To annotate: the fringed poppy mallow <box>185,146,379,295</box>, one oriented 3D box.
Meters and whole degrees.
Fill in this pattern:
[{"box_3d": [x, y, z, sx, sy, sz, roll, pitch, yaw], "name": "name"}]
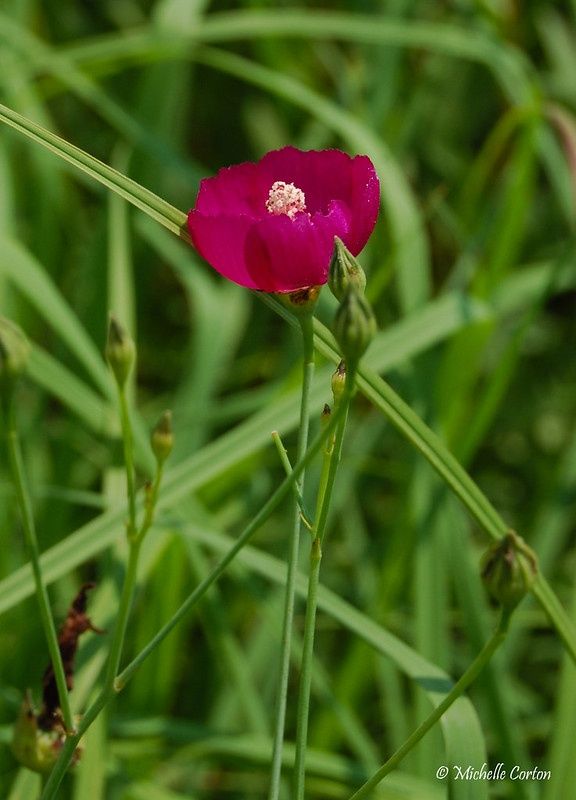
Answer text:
[{"box_3d": [0.011, -0.094, 0.484, 0.081, 0.081, 0.058, -13, -81, -2], "name": "fringed poppy mallow"}]
